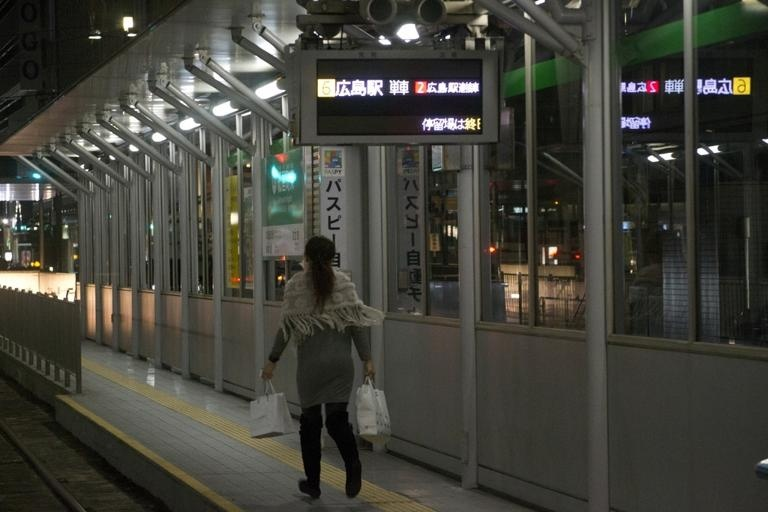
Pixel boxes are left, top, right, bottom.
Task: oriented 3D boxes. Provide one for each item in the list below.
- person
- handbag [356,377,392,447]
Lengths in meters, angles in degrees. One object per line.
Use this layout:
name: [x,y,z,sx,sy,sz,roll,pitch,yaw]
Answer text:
person: [-0.561,1.074,6.716,0.984,2.513,0.377,2,-2,-1]
handbag: [-0.096,1.445,6.632,0.312,0.621,0.272,2,-2,0]
